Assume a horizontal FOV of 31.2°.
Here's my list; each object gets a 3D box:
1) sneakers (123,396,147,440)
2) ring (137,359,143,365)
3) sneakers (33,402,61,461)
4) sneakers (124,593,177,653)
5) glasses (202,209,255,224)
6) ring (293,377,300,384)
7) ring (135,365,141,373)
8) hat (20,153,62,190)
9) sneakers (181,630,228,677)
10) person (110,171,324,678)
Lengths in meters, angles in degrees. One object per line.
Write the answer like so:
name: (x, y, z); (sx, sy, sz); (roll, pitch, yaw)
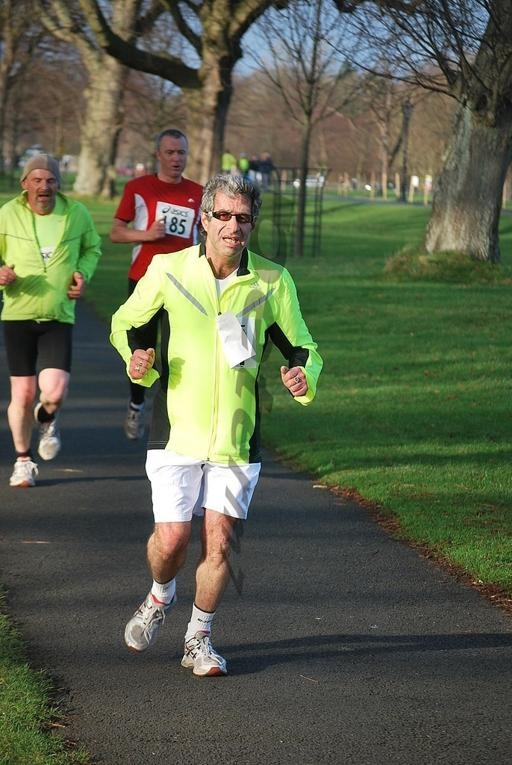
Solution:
sneakers: (-0.949, 0.276, 7.115); (0.123, 0.319, 0.134); (-2, 10, -18)
ring: (-0.396, -0.069, 3.099); (0.022, 0.018, 0.005); (-11, 9, -25)
sneakers: (-1.365, 0.339, 6.002); (0.165, 0.403, 0.184); (-6, 5, -4)
sneakers: (-0.407, 0.879, 3.335); (0.103, 0.269, 0.108); (41, -27, -11)
glasses: (-0.082, -0.561, 3.121); (0.139, 0.040, 0.050); (2, 8, -3)
ring: (0.137, -0.008, 3.100); (0.018, 0.020, 0.008); (2, 9, 0)
ring: (-0.403, -0.049, 3.103); (0.027, 0.024, 0.006); (-1, 6, 13)
hat: (-1.317, -1.313, 5.639); (0.224, 0.157, 0.209); (1, -10, -15)
sneakers: (-0.194, 0.971, 3.295); (0.104, 0.103, 0.205); (2, -2, -25)
person: (-0.146, 0.159, 3.287); (0.759, 1.781, 0.444); (1, 9, -9)
